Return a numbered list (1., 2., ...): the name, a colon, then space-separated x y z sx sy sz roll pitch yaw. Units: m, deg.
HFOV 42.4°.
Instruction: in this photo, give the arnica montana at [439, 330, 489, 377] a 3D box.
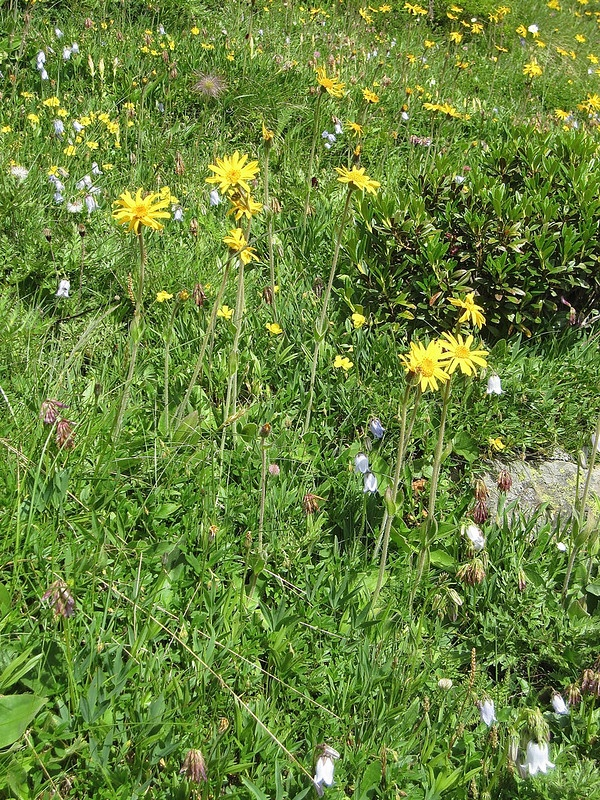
1. arnica montana: 0.462 -0.127 2.190 0.120 0.045 0.140 -18 66 -43
